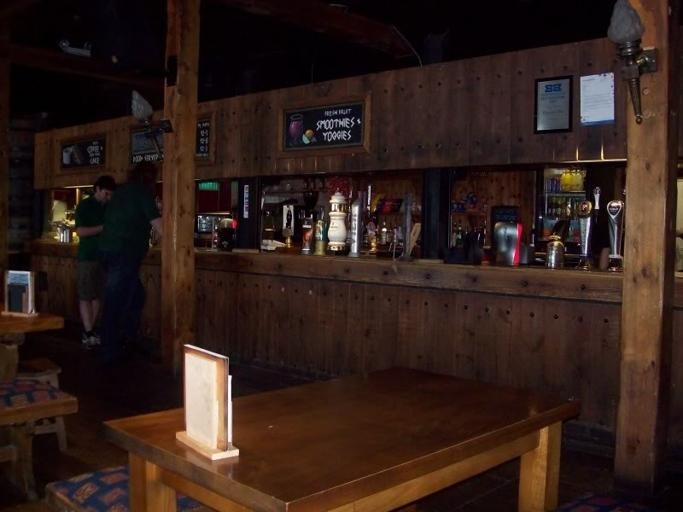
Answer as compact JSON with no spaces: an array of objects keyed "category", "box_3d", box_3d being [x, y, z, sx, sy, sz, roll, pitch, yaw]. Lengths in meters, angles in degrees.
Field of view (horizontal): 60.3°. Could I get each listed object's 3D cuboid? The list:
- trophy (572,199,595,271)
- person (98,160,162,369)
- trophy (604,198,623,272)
[{"category":"trophy","box_3d":[1.826,-0.152,4.409,0.117,0.503,0.577,4,10,22]},{"category":"person","box_3d":[-2.053,0.094,5.713,0.592,1.985,0.562,-3,9,-22]},{"category":"trophy","box_3d":[2.056,-0.167,4.415,0.121,0.511,0.404,4,10,25]}]
